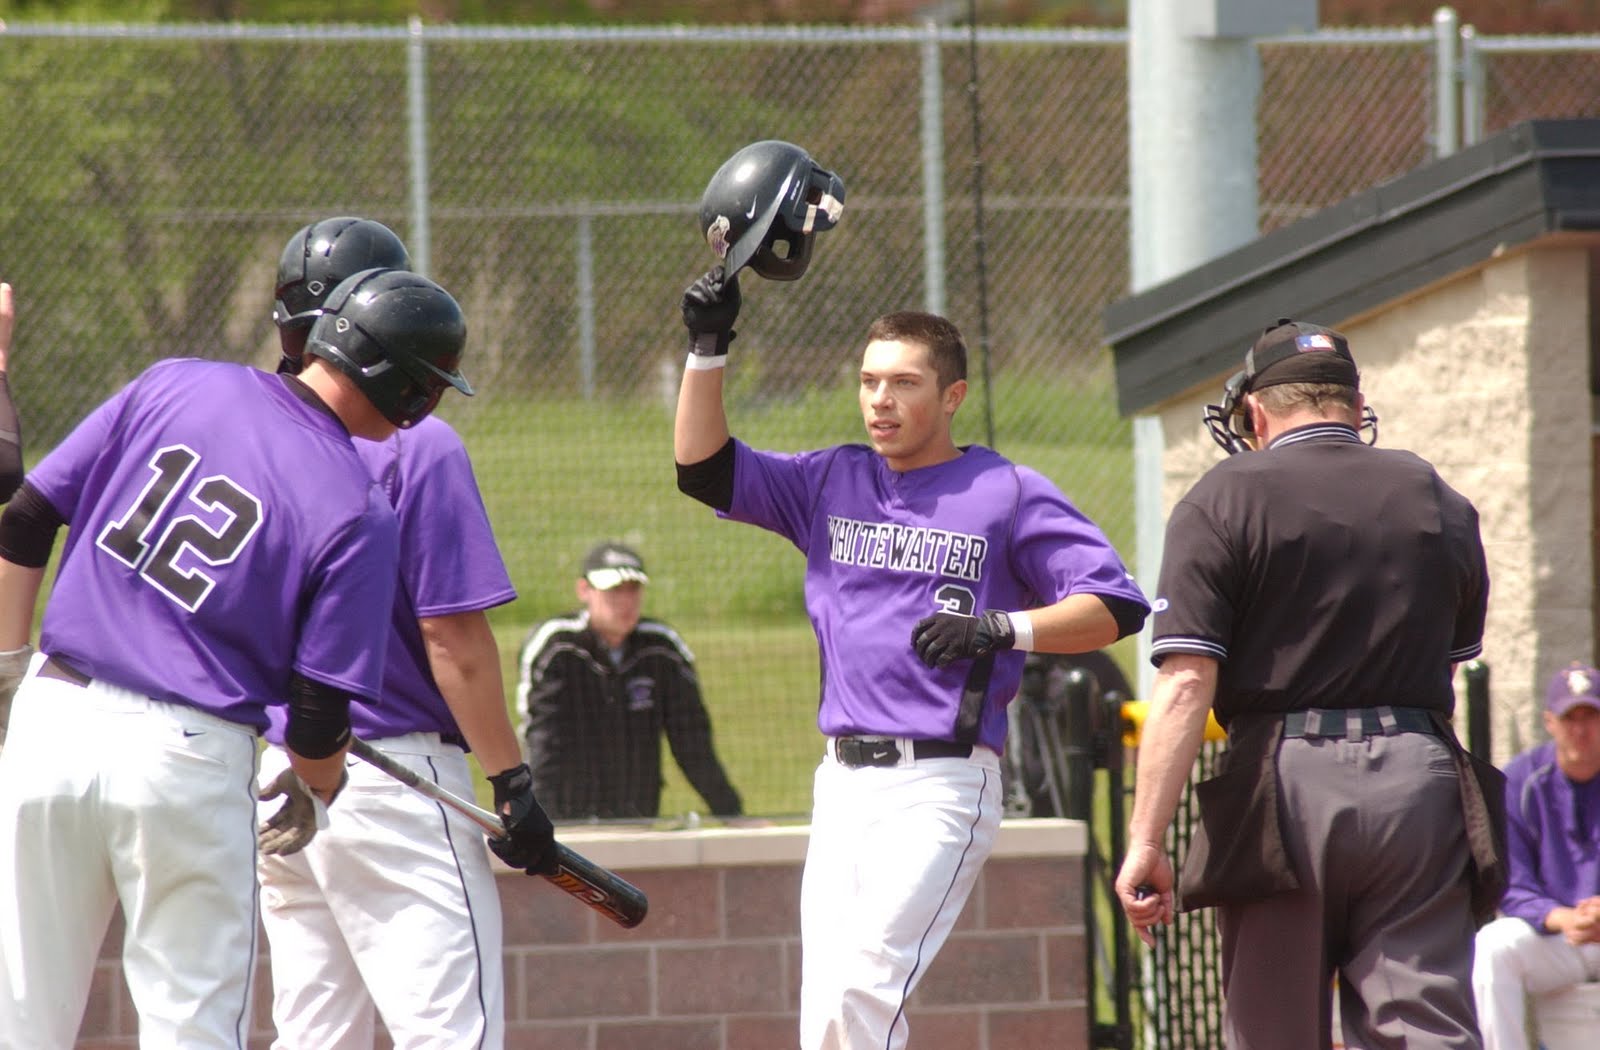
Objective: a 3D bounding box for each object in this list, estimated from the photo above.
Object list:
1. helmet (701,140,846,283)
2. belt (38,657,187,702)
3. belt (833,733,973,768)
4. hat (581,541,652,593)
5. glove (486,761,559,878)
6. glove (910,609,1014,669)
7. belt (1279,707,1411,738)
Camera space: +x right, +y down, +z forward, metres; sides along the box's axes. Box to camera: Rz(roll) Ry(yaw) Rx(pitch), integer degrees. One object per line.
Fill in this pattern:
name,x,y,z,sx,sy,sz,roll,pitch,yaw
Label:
helmet,-0.143,-1.223,13.837,0.467,0.589,0.462,31,-9,-6
belt,-2.632,0.572,12.851,0.306,0.076,0.237,27,-13,-40
belt,0.408,0.891,13.437,0.519,0.122,0.085,0,-3,8
hat,-0.852,0.210,16.090,0.285,0.136,0.389,4,3,-10
glove,-1.043,1.141,13.291,0.302,0.383,0.167,-16,-5,-36
glove,0.635,0.449,13.345,0.340,0.190,0.123,-13,-20,-3
belt,2.091,0.759,13.058,0.522,0.118,0.080,0,-3,-2
